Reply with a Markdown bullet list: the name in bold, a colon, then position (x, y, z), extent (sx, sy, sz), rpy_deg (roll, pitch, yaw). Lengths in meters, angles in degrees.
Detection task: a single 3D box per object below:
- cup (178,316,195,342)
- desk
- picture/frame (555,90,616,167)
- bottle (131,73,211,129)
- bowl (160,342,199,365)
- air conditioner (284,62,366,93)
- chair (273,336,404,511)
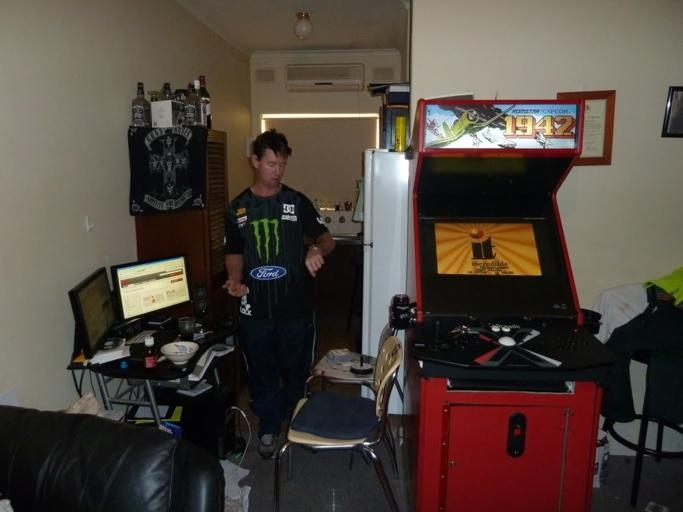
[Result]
- **cup**: position (-0.902, 0.421, 3.100), extent (0.112, 0.122, 0.093), rpy_deg (2, 0, 2)
- **desk**: position (-1.030, 0.620, 2.997), extent (0.569, 0.407, 0.752), rpy_deg (3, 18, 7)
- **picture/frame**: position (1.448, -0.760, 3.161), extent (0.337, 0.436, 0.063), rpy_deg (1, 11, 0)
- **bottle**: position (-1.133, -1.012, 3.499), extent (0.545, 0.336, 0.389), rpy_deg (1, 12, 3)
- **bowl**: position (-0.875, 0.508, 2.897), extent (0.121, 0.050, 0.127), rpy_deg (2, 9, 0)
- **air conditioner**: position (-0.188, -2.141, 6.348), extent (0.923, 0.311, 0.391), rpy_deg (2, 12, 5)
- **chair**: position (-0.002, 0.751, 3.094), extent (0.855, 1.169, 0.723), rpy_deg (4, 9, 3)
